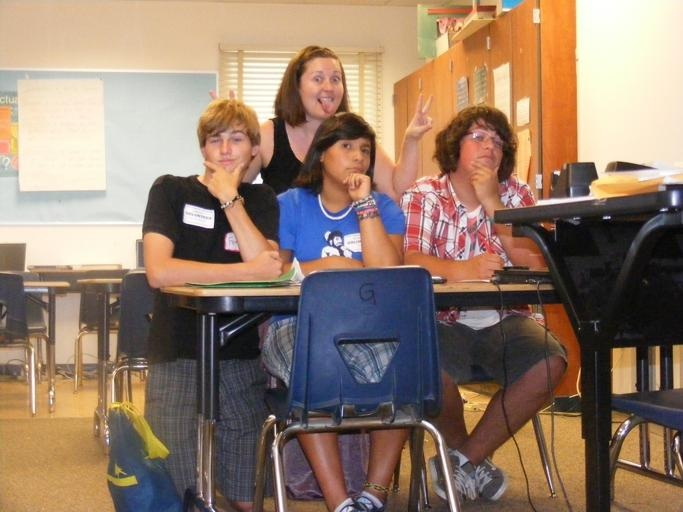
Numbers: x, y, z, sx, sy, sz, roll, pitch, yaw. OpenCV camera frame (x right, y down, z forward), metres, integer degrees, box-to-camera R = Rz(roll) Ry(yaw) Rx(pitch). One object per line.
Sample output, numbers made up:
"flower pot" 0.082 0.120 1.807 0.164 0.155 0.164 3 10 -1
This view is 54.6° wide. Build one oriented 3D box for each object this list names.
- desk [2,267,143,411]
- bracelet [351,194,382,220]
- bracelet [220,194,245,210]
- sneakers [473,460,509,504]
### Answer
"desk" -2.055 0.441 4.857 1.098 1.123 1.130 0 -7 -14
"bracelet" 0.100 -0.186 2.635 0.096 0.100 0.087 -14 -4 15
"bracelet" -0.425 -0.206 2.544 0.080 0.051 0.067 -3 4 -3
"sneakers" 0.644 0.968 2.824 0.093 0.107 0.239 -3 -7 -6
